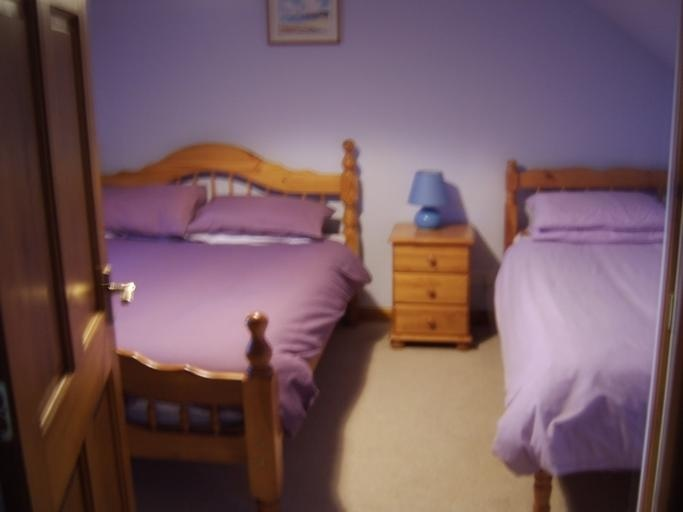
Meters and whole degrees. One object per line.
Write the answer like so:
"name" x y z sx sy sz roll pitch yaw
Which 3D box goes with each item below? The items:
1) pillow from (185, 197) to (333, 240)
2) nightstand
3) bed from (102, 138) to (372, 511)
"pillow" -0.480 -0.231 3.361 0.540 0.126 0.348 2 30 5
"nightstand" 0.397 0.147 3.436 0.526 0.806 0.568 0 10 7
"bed" -0.554 0.149 2.645 1.099 0.927 1.582 1 19 5
